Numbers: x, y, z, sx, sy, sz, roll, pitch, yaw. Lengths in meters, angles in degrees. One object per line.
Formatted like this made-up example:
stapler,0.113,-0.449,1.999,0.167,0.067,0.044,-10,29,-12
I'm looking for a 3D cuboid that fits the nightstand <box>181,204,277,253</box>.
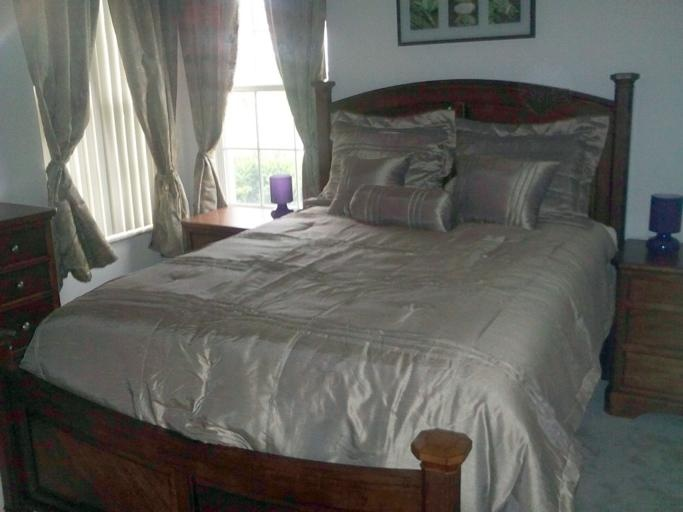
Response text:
nightstand,-0.830,-0.232,4.392,0.417,0.304,0.447,2,13,8
